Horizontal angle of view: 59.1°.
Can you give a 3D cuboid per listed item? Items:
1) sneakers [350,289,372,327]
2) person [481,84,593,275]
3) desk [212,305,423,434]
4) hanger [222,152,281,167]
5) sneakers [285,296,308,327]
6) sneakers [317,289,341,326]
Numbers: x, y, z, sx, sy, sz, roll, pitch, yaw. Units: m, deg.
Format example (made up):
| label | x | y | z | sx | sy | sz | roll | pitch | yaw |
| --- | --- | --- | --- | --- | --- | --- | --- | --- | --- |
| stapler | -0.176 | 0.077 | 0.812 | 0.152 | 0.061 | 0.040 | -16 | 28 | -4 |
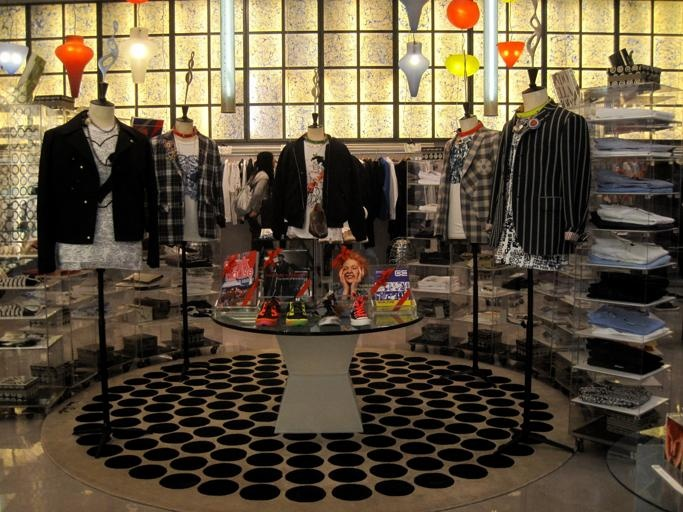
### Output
| label | x | y | z | sx | sy | sz | roll | pitch | yaw |
| --- | --- | --- | --- | --- | --- | --- | --- | --- | --- |
| sneakers | 0.114 | 0.332 | 3.860 | 0.119 | 0.189 | 0.344 | -23 | 6 | 3 |
| person | 1.222 | -0.495 | 3.818 | 0.647 | 1.130 | 0.304 | 5 | 10 | 45 |
| desk | -0.137 | 0.820 | 4.203 | 1.391 | 0.673 | 1.304 | -1 | -2 | -17 |
| hanger | -1.075 | -1.094 | 6.916 | 0.606 | 0.136 | 0.087 | -1 | 9 | -11 |
| sneakers | -0.298 | 0.364 | 3.842 | 0.126 | 0.135 | 0.324 | 0 | -4 | -3 |
| sneakers | -0.082 | 0.346 | 3.896 | 0.186 | 0.237 | 0.544 | -1 | 4 | -4 |
